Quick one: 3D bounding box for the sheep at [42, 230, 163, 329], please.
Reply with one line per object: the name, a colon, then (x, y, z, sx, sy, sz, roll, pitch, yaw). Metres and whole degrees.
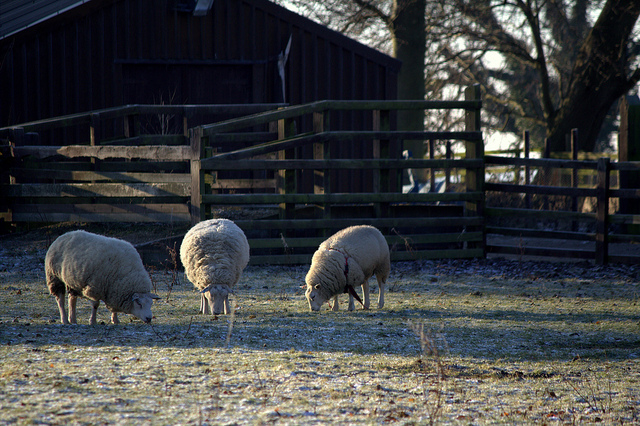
sheep: (-5.828, 1.713, 45.162, 3.082, 2.683, 1.704, 8, 12, 22)

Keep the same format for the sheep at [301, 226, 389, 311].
sheep: (0.690, 1.528, 46.411, 1.328, 2.386, 2.839, 11, 16, 43)
